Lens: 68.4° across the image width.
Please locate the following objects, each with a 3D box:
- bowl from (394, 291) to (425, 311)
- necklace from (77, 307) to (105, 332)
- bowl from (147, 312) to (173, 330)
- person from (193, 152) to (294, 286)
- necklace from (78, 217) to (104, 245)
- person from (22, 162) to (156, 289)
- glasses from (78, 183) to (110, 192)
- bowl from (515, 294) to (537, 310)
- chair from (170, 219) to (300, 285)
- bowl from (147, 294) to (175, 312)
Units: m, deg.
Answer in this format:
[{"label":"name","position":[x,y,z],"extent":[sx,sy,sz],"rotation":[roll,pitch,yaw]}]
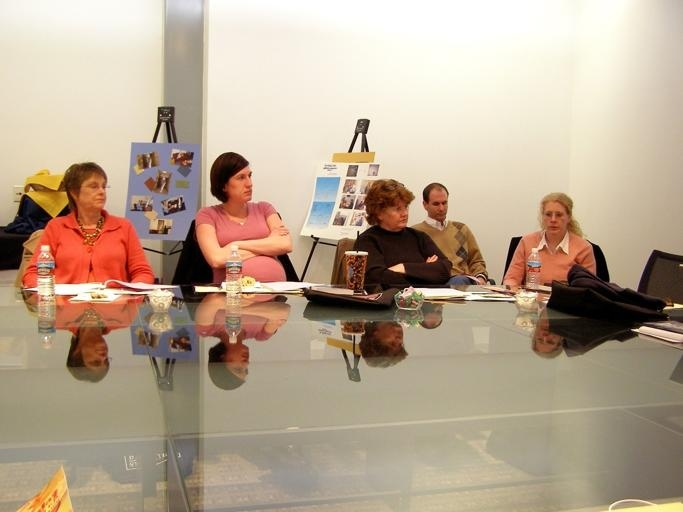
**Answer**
[{"label":"bowl","position":[0.291,0.189,2.172],"extent":[0.100,0.045,0.082],"rotation":[0,2,17]},{"label":"necklace","position":[-0.866,0.220,1.742],"extent":[0.080,0.090,0.233],"rotation":[1,-9,-23]},{"label":"bowl","position":[-0.627,0.224,1.744],"extent":[0.064,0.057,0.062],"rotation":[-1,2,0]},{"label":"person","position":[-0.627,-0.257,3.182],"extent":[0.574,0.809,0.680],"rotation":[-1,10,-18]},{"label":"necklace","position":[-1.404,-0.143,2.834],"extent":[0.102,0.127,0.038],"rotation":[1,-27,-15]},{"label":"person","position":[-1.402,-0.174,2.762],"extent":[0.621,0.681,0.463],"rotation":[-4,11,-30]},{"label":"glasses","position":[-1.402,-0.394,2.806],"extent":[0.097,0.028,0.095],"rotation":[-21,-17,41]},{"label":"bowl","position":[0.830,0.203,2.267],"extent":[0.081,0.072,0.074],"rotation":[0,-4,0]},{"label":"chair","position":[-0.715,0.055,3.297],"extent":[0.522,0.657,0.568],"rotation":[-1,-6,-23]},{"label":"bowl","position":[-0.696,0.167,1.946],"extent":[0.086,0.058,0.088],"rotation":[-1,0,0]}]
